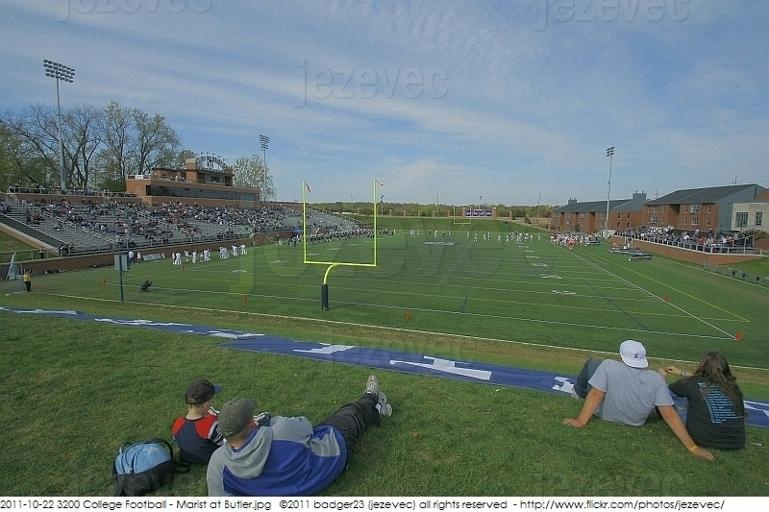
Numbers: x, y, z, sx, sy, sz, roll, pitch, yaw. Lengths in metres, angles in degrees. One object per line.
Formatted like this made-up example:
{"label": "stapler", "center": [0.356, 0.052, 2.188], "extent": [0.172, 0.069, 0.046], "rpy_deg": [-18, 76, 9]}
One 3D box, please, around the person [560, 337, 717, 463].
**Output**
{"label": "person", "center": [3.927, 2.118, 7.065], "extent": [1.466, 0.858, 2.113], "rpy_deg": [3, 13, 19]}

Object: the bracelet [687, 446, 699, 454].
{"label": "bracelet", "center": [4.650, 2.902, 6.652], "extent": [0.109, 0.035, 0.077], "rpy_deg": [3, 24, 12]}

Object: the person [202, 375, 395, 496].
{"label": "person", "center": [-1.102, 2.566, 6.667], "extent": [1.115, 1.006, 2.533], "rpy_deg": [-10, 1, 33]}

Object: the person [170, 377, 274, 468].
{"label": "person", "center": [-2.767, 2.520, 7.299], "extent": [0.912, 1.039, 1.755], "rpy_deg": [-1, -1, 9]}

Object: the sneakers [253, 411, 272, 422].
{"label": "sneakers", "center": [-1.892, 2.472, 6.871], "extent": [0.171, 0.176, 0.471], "rpy_deg": [6, -19, -31]}

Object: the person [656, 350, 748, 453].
{"label": "person", "center": [5.002, 2.180, 6.772], "extent": [0.956, 1.447, 0.320], "rpy_deg": [5, -2, 24]}

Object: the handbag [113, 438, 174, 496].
{"label": "handbag", "center": [-3.398, 2.989, 6.229], "extent": [0.638, 0.714, 0.843], "rpy_deg": [-10, -27, 33]}

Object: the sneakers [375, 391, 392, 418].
{"label": "sneakers", "center": [0.016, 2.507, 7.566], "extent": [0.185, 0.207, 0.464], "rpy_deg": [1, 34, 0]}

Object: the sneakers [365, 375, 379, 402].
{"label": "sneakers", "center": [-0.192, 2.263, 7.753], "extent": [0.141, 0.150, 0.379], "rpy_deg": [-5, 43, 11]}
